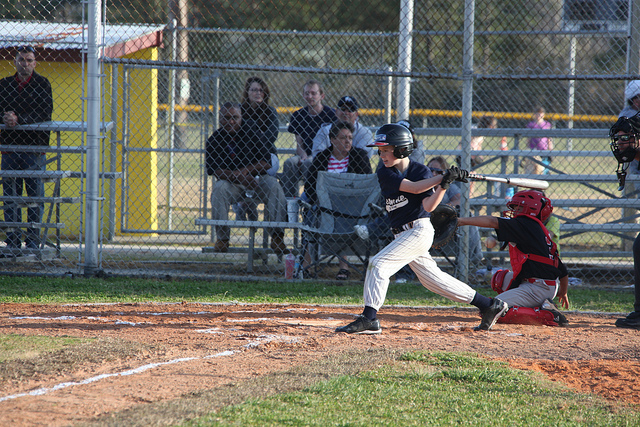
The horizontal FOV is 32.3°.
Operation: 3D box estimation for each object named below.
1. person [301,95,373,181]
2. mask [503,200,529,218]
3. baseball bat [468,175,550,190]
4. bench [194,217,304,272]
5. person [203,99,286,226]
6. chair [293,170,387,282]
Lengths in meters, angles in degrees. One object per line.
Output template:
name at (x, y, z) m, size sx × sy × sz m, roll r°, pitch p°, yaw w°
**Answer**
person at (0.328, -1.178, 15.458) m, size 0.757 × 1.143 × 1.310 m, roll 8°, pitch 13°, yaw 7°
mask at (2.359, -0.053, 13.299) m, size 0.233 × 0.183 × 0.187 m, roll 8°, pitch -4°, yaw 17°
baseball bat at (2.446, -0.409, 14.161) m, size 0.917 × 0.082 × 0.179 m, roll 10°, pitch 3°, yaw -18°
bench at (-0.996, 0.288, 15.641) m, size 1.390 × 0.773 × 2.243 m, roll 0°, pitch 10°, yaw -5°
person at (-1.074, -0.725, 15.184) m, size 1.138 × 1.548 × 0.836 m, roll 1°, pitch 11°, yaw 2°
chair at (0.243, 0.244, 14.317) m, size 1.206 × 1.465 × 1.098 m, roll 5°, pitch 9°, yaw 10°
